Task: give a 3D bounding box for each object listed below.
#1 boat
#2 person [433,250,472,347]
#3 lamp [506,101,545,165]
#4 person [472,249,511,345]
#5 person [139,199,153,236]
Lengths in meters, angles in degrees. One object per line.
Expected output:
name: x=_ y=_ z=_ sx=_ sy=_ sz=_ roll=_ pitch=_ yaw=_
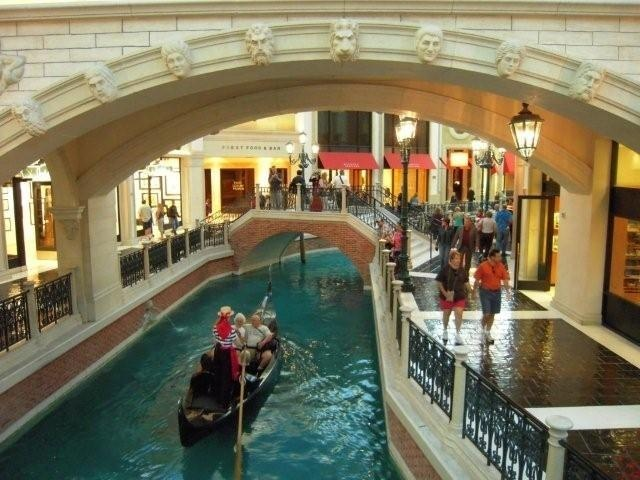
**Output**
boat: x=-1.600 y=2.363 z=9.356 sx=0.965 sy=1.208 sz=3.489 roll=0 pitch=37 yaw=17
person: x=2.342 y=1.004 z=8.513 sx=0.539 sy=1.762 sz=0.590 roll=3 pitch=13 yaw=19
lamp: x=2.986 y=-1.635 z=6.945 sx=0.424 sy=0.886 sz=0.482 roll=-1 pitch=0 yaw=-24
person: x=3.115 y=0.978 z=8.767 sx=0.546 sy=1.832 sz=0.848 roll=3 pitch=13 yaw=22
person: x=-7.499 y=-0.889 z=20.686 sx=0.400 sy=1.612 sz=2.459 roll=-6 pitch=14 yaw=-21
